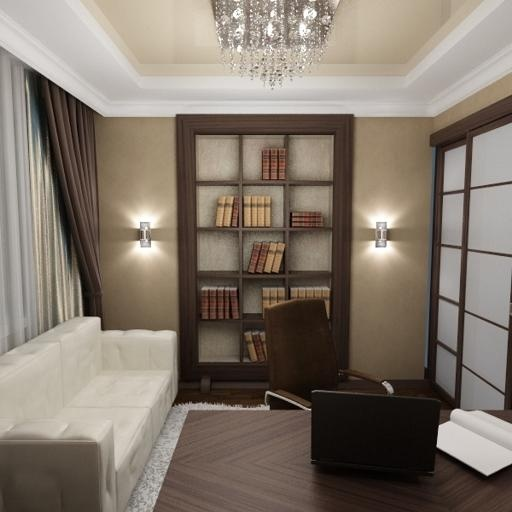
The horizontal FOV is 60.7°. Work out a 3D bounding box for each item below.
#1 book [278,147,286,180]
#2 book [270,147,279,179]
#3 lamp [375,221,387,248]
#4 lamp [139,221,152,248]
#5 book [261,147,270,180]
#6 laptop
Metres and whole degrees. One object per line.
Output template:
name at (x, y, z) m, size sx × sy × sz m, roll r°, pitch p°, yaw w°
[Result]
book at (0.226, -0.811, 3.835) m, size 0.120 × 0.241 × 0.238 m, roll 0°, pitch 7°, yaw 0°
book at (0.153, -0.806, 3.841) m, size 0.076 × 0.257 × 0.025 m, roll -2°, pitch 11°, yaw 3°
lamp at (1.079, -0.186, 3.789) m, size 0.092 × 0.222 × 0.071 m, roll 0°, pitch 11°, yaw 14°
lamp at (-0.964, -0.184, 3.781) m, size 0.091 × 0.220 × 0.058 m, roll -6°, pitch 11°, yaw -17°
book at (0.081, -0.812, 3.867) m, size 0.083 × 0.267 × 0.101 m, roll -1°, pitch 11°, yaw 9°
laptop at (0.406, 0.606, 1.506) m, size 0.383 × 0.318 × 0.290 m, roll 1°, pitch 3°, yaw 9°
